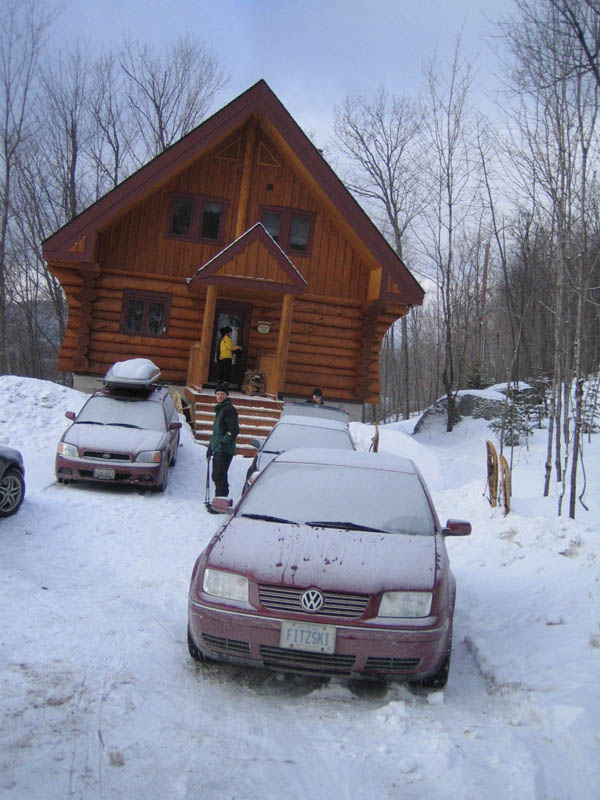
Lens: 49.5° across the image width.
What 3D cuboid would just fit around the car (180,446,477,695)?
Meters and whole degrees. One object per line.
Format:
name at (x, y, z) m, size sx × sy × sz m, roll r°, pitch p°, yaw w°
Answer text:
car at (0.199, 1.015, 4.306) m, size 1.053 × 0.899 × 1.991 m, roll 0°, pitch -8°, yaw 10°

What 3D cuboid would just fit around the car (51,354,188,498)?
car at (-2.816, 0.261, 10.688) m, size 1.553 × 1.905 × 3.730 m, roll 5°, pitch 6°, yaw -5°
